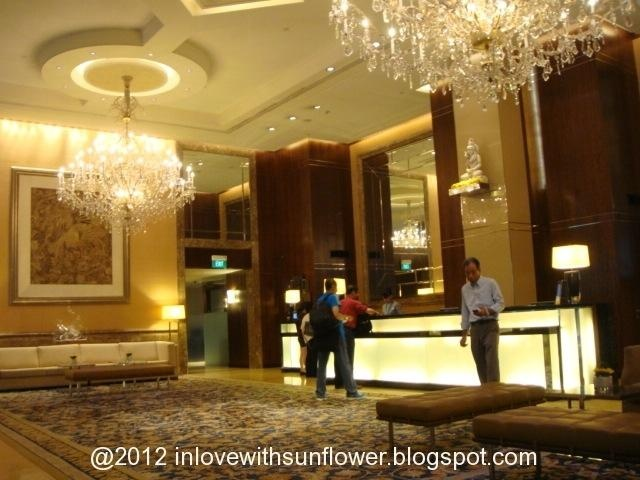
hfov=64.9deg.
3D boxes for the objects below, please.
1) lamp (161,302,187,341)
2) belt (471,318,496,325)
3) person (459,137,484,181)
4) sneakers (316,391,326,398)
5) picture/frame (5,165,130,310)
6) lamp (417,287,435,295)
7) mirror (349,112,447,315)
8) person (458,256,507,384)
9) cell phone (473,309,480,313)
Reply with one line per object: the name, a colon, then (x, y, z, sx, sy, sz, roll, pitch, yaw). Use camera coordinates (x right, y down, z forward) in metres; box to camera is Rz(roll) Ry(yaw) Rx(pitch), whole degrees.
lamp: (-4.027, 2.266, 13.746, 0.639, 1.008, 0.821, 0, -8, -18)
belt: (1.942, 0.955, 5.922, 0.137, 0.051, 0.121, -9, -8, 29)
person: (3.097, -1.655, 10.250, 0.304, 0.919, 0.553, 3, -9, -32)
sneakers: (0.015, 2.420, 7.891, 0.096, 0.106, 0.115, 12, -18, -41)
picture/frame: (-6.451, -0.119, 12.472, 3.640, 4.400, 0.300, 2, -7, -36)
lamp: (2.812, 1.365, 13.371, 0.115, 0.217, 0.582, 2, -8, -30)
mirror: (2.220, -0.703, 13.670, 0.345, 6.485, 4.436, 5, -11, -31)
person: (1.928, 0.943, 5.959, 0.499, 1.481, 0.516, -4, -8, 18)
cell phone: (1.843, 0.820, 5.834, 0.045, 0.036, 0.136, 1, -8, -23)
